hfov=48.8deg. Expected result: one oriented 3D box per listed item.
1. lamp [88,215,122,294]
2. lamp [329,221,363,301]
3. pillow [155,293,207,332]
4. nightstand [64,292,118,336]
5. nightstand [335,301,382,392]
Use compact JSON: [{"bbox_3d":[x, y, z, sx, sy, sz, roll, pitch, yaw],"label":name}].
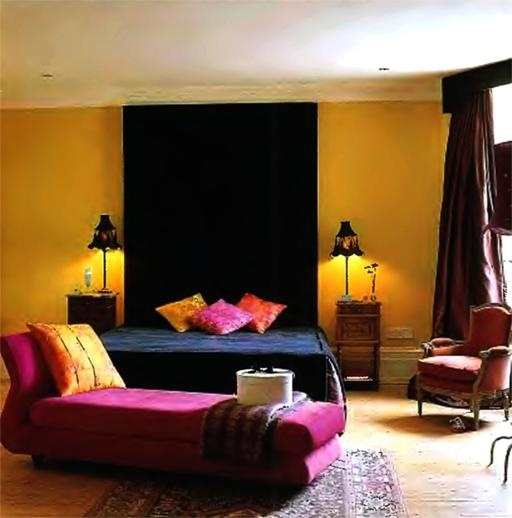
[{"bbox_3d":[-1.559,-0.070,5.800,0.321,0.795,0.433,0,0,-15],"label":"lamp"},{"bbox_3d":[0.920,-0.005,5.655,0.329,0.810,0.340,0,0,10],"label":"lamp"},{"bbox_3d":[-0.675,0.473,5.567,0.556,0.139,0.601,18,17,23],"label":"pillow"},{"bbox_3d":[-1.601,0.504,5.643,0.457,0.590,0.385,0,-3,1],"label":"nightstand"},{"bbox_3d":[0.994,0.823,5.486,0.439,0.804,0.309,0,-11,3],"label":"nightstand"}]
